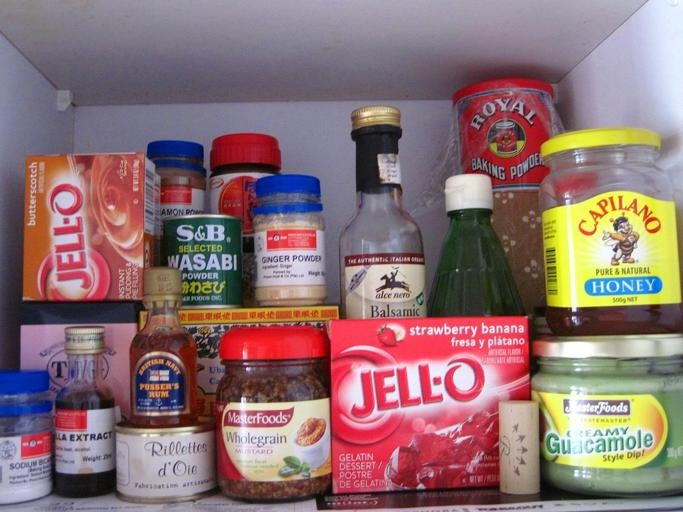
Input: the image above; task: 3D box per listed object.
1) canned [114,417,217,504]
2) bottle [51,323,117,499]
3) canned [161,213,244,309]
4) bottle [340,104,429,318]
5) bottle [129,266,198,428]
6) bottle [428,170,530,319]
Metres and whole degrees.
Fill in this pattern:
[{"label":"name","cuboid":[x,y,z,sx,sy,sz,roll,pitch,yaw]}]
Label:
[{"label":"canned","cuboid":[-0.251,0.278,0.920,0.112,0.072,0.109,0,-5,-9]},{"label":"bottle","cuboid":[-0.374,0.246,0.964,0.083,0.199,0.050,0,-5,-22]},{"label":"canned","cuboid":[-0.225,0.017,1.088,0.148,0.157,0.145,1,-8,-18]},{"label":"bottle","cuboid":[0.058,-0.070,1.095,0.147,0.343,0.114,-4,-5,20]},{"label":"bottle","cuboid":[-0.260,0.129,0.966,0.095,0.230,0.060,0,-5,-17]},{"label":"bottle","cuboid":[0.220,-0.018,1.086,0.147,0.231,0.145,-2,-5,0]}]
